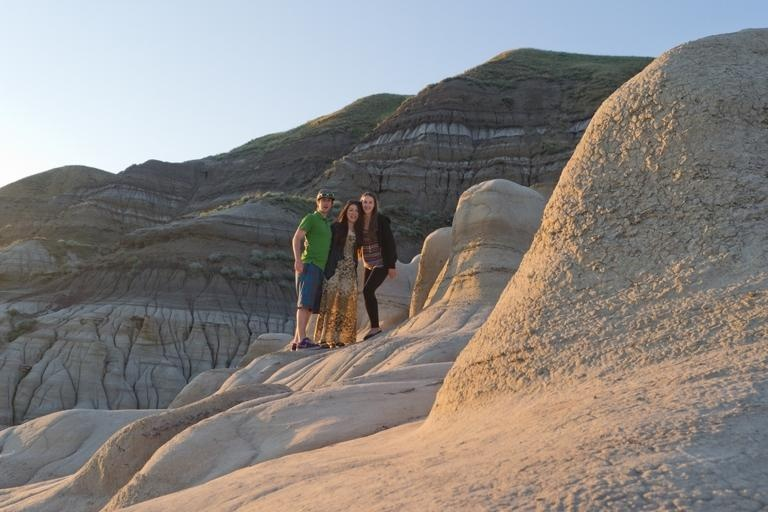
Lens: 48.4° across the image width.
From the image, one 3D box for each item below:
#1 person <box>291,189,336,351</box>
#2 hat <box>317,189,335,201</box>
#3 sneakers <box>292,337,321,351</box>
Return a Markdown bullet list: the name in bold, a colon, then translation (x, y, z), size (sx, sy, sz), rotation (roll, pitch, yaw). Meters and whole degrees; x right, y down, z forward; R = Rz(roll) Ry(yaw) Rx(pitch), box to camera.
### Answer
- **person**: translation (-0.728, 0.117, 9.084), size (0.432, 1.583, 0.799), rotation (-3, -16, -5)
- **hat**: translation (-0.620, -0.666, 9.086), size (0.138, 0.067, 0.182), rotation (0, -7, -10)
- **sneakers**: translation (-0.881, 0.951, 9.332), size (0.366, 0.135, 0.144), rotation (-1, 0, 7)
